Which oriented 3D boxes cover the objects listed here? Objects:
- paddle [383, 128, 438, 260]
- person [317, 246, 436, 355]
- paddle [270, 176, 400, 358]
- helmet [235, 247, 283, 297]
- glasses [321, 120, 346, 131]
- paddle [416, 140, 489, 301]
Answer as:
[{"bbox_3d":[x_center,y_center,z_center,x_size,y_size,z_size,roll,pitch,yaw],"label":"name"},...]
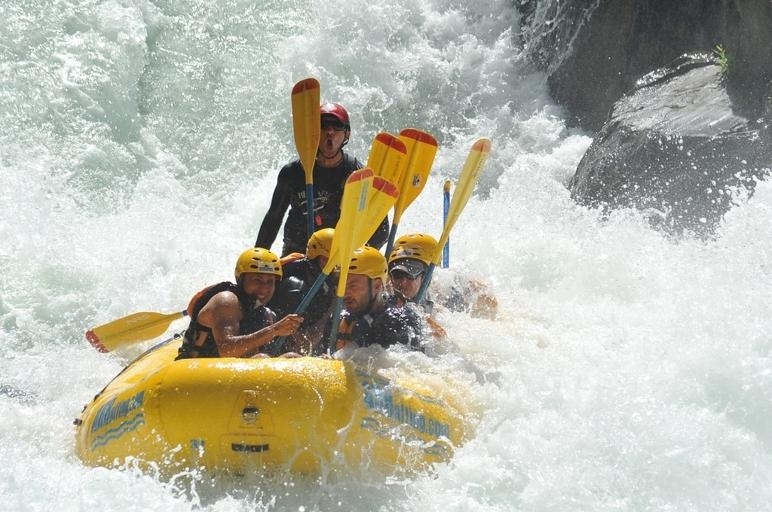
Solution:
[{"bbox_3d":[0.259,-0.708,7.997,0.390,0.197,1.447,16,102,-19],"label":"paddle"},{"bbox_3d":[-0.068,0.452,7.181,0.766,0.995,1.279,8,86,-42],"label":"person"},{"bbox_3d":[-0.379,0.080,7.084,0.652,0.241,2.120,21,100,0],"label":"paddle"},{"bbox_3d":[-1.145,0.157,7.226,0.394,0.497,0.485,7,84,-32],"label":"helmet"},{"bbox_3d":[-0.516,-1.282,7.955,0.240,0.130,0.088,-4,75,-6],"label":"glasses"},{"bbox_3d":[0.758,-0.338,9.215,0.255,0.196,2.323,26,98,6],"label":"paddle"}]
